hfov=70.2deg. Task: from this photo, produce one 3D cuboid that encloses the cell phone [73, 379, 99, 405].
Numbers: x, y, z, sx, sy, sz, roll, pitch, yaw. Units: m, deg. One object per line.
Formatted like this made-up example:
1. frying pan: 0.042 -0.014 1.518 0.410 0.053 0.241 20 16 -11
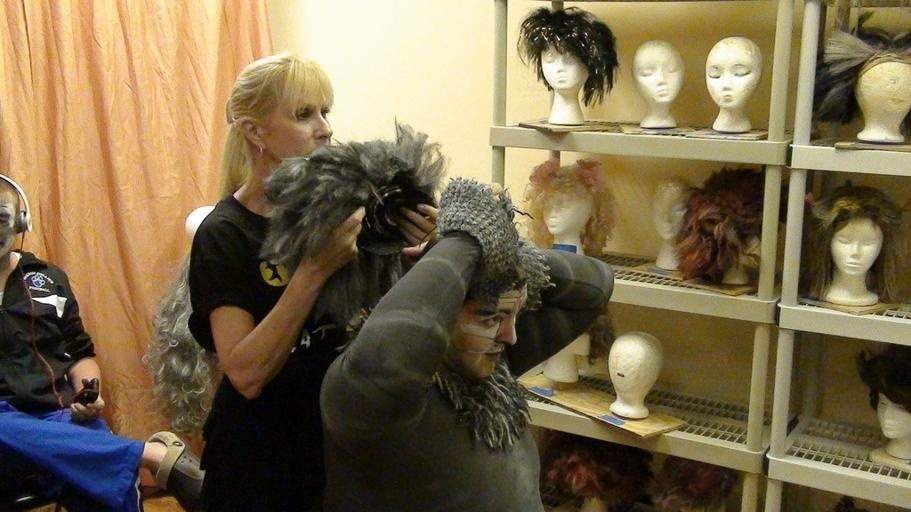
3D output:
1. cell phone: -1.594 0.601 2.843 0.091 0.117 0.051 30 3 -18
